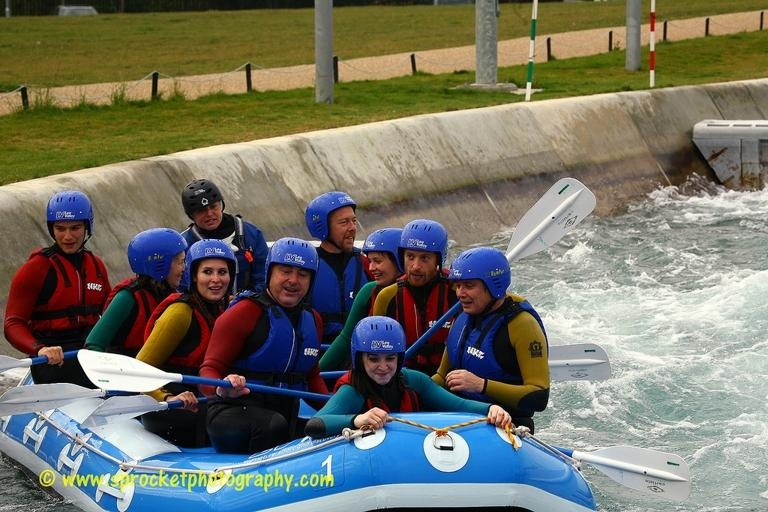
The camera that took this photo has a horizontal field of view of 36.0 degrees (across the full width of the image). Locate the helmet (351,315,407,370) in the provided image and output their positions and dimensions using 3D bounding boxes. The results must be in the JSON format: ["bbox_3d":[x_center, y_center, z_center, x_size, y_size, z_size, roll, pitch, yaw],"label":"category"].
[{"bbox_3d":[-0.062,0.918,12.388,0.432,0.462,0.522,2,14,-8],"label":"helmet"}]

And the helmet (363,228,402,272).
[{"bbox_3d":[-0.062,-0.098,14.257,0.552,0.467,0.404,-2,-7,-26],"label":"helmet"}]

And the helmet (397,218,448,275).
[{"bbox_3d":[0.445,-0.150,13.996,0.500,0.543,0.614,2,-2,9],"label":"helmet"}]

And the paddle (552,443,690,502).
[{"bbox_3d":[2.673,2.329,12.901,1.791,0.522,0.477,10,0,2],"label":"paddle"}]

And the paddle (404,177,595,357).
[{"bbox_3d":[1.562,0.191,15.990,4.274,0.596,0.163,-37,-10,-5],"label":"paddle"}]
